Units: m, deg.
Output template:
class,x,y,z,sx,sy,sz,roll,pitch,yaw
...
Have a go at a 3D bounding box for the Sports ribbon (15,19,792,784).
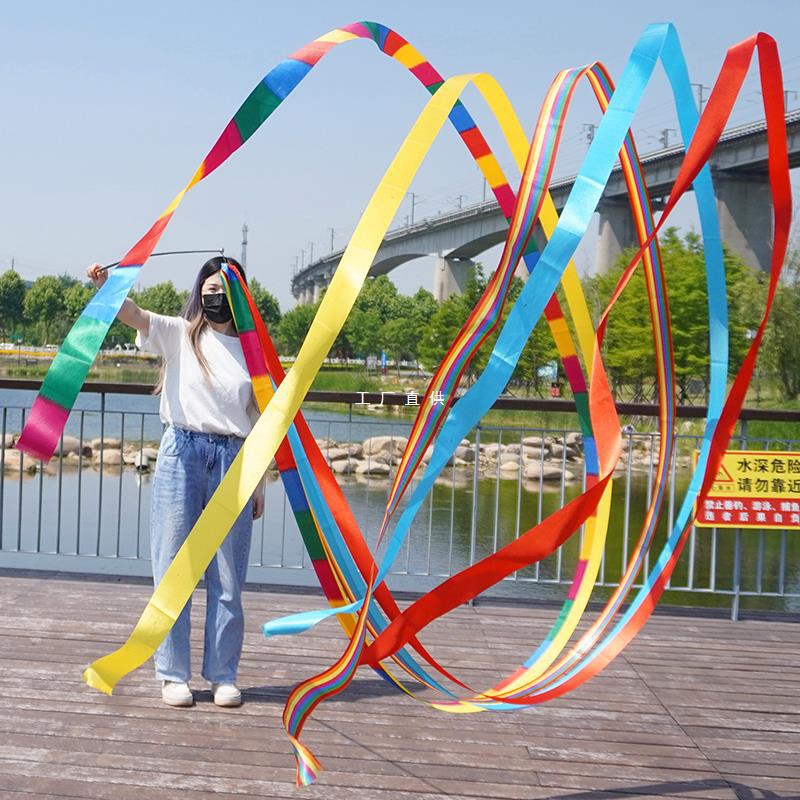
class,x,y,z,sx,sy,sz,roll,pitch,yaw
Sports ribbon,-0.121,-0.454,5.738,2.937,2.937,2.604,22,8,33
